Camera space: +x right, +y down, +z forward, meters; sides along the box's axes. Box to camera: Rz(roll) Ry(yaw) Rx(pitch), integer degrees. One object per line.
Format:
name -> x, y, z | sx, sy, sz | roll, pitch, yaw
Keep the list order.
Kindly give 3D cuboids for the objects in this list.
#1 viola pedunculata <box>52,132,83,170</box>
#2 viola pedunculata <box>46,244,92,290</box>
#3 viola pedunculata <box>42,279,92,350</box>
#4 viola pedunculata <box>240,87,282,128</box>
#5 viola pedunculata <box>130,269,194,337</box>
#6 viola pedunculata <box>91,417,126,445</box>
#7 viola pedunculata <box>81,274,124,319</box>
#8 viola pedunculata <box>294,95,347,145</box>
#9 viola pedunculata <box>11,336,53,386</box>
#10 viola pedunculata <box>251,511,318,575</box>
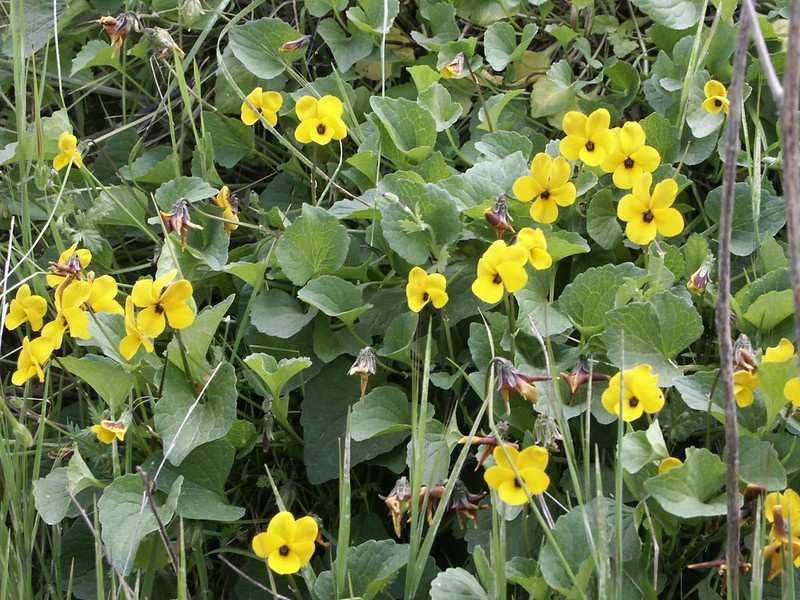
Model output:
viola pedunculata -> -1.066, -0.477, 2.521 | 0.075, 0.113, 0.330 | -11, 14, -19
viola pedunculata -> -0.915, -0.101, 2.200 | 0.118, 0.133, 0.054 | -14, -37, 38
viola pedunculata -> -0.870, 0.036, 2.072 | 0.137, 0.160, 0.082 | -4, 13, 13
viola pedunculata -> -0.452, -0.625, 2.571 | 0.125, 0.130, 0.196 | -10, 14, -11
viola pedunculata -> -0.618, 0.008, 2.057 | 0.157, 0.163, 0.097 | -10, 14, -12
viola pedunculata -> -0.800, 0.349, 2.198 | 0.078, 0.092, 0.041 | 0, 38, 23
viola pedunculata -> -0.814, 0.000, 2.110 | 0.110, 0.098, 0.050 | -39, 15, 50
viola pedunculata -> -0.244, -0.541, 2.375 | 0.146, 0.139, 0.106 | -9, 14, -7
viola pedunculata -> -0.955, 0.127, 2.060 | 0.091, 0.046, 0.111 | 18, -7, -19
viola pedunculata -> -0.257, 0.581, 1.933 | 0.170, 0.102, 0.194 | -21, -13, 25
